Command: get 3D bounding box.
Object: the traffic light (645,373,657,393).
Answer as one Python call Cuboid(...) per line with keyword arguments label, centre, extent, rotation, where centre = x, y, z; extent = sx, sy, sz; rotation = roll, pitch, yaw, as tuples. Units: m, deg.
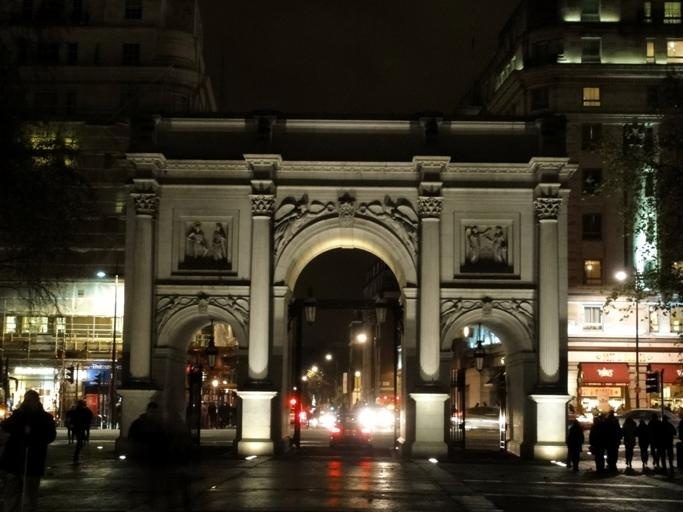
Cuboid(label="traffic light", centre=(15.568, 6.306, 55.483), extent=(0.553, 0.975, 2.052), rotation=(-3, -10, 14))
